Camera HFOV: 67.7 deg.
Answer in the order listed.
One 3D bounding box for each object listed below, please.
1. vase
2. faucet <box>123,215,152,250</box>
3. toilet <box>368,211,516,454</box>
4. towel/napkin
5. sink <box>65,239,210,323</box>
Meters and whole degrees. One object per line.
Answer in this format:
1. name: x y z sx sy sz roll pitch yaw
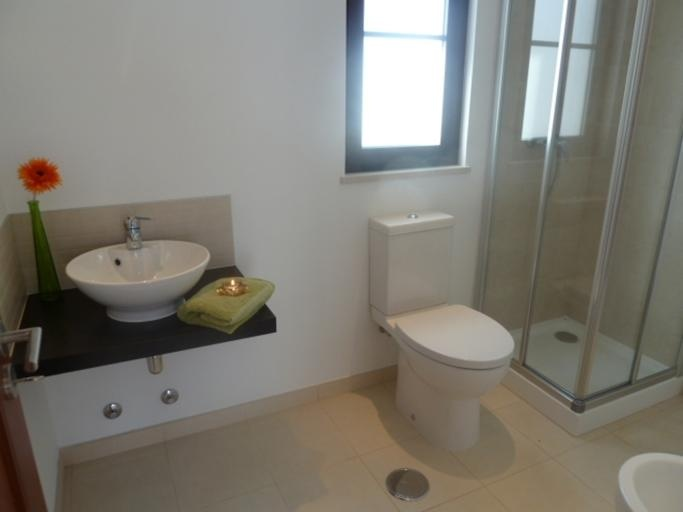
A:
1. vase: -1.221 -0.025 2.084 0.068 0.408 0.122 3 24 10
2. faucet: -0.879 -0.107 2.155 0.133 0.162 0.106 -7 16 -30
3. toilet: 0.510 0.373 2.551 0.460 1.020 0.834 -7 17 -22
4. towel/napkin: -0.485 0.187 2.086 0.313 0.129 0.336 10 27 25
5. sink: -0.807 0.099 2.079 0.535 0.211 0.433 -9 25 -15
